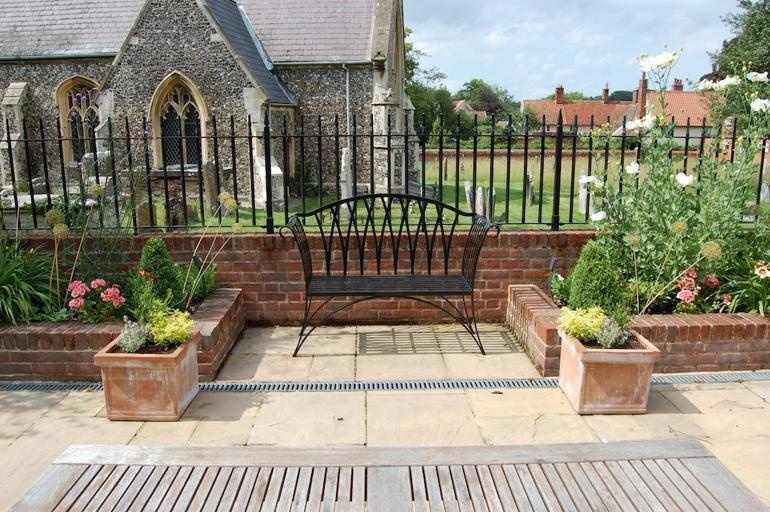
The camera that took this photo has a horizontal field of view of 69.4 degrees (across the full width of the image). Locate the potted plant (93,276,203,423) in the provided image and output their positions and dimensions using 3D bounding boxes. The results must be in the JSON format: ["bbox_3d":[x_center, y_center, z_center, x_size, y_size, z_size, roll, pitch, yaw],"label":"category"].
[{"bbox_3d":[-2.606,0.948,6.260,1.137,1.728,1.227,1,4,-3],"label":"potted plant"}]

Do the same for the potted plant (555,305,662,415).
[{"bbox_3d":[2.193,1.028,5.834,0.643,0.959,0.814,-7,15,1],"label":"potted plant"}]

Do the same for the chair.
[{"bbox_3d":[0.035,0.309,7.426,2.638,1.878,0.914,0,25,0],"label":"chair"}]
